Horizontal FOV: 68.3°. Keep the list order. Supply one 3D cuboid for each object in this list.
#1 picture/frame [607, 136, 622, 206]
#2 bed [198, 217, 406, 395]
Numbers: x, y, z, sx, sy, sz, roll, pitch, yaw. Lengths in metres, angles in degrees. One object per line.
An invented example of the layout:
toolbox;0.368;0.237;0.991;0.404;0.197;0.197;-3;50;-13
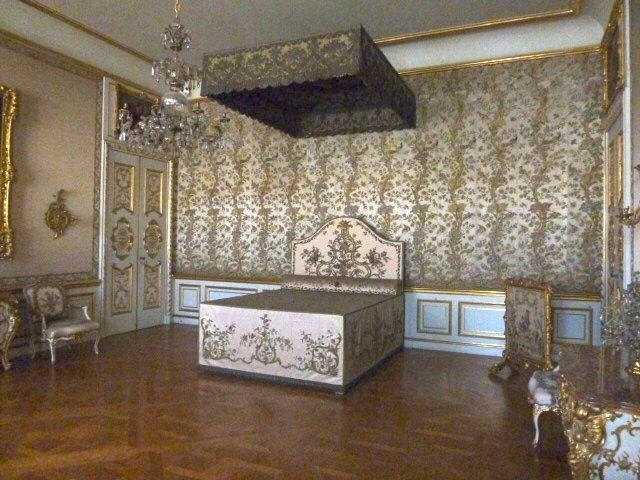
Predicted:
picture/frame;3.185;-0.749;5.103;0.083;0.751;0.890;4;9;26
bed;-0.070;0.639;6.097;1.802;2.062;2.514;0;-2;21
